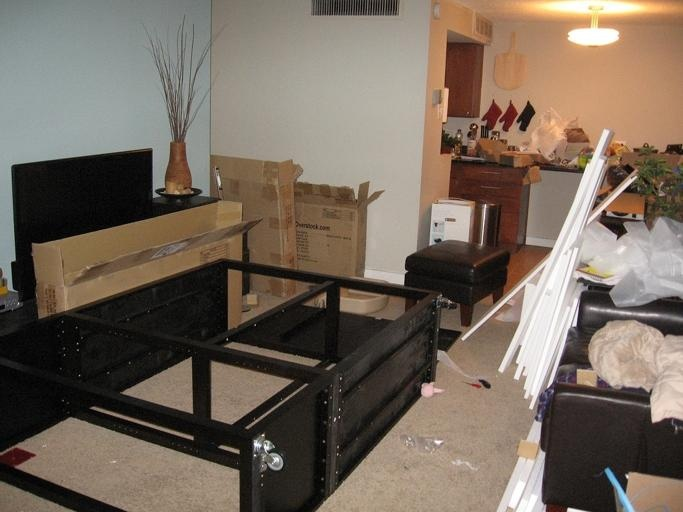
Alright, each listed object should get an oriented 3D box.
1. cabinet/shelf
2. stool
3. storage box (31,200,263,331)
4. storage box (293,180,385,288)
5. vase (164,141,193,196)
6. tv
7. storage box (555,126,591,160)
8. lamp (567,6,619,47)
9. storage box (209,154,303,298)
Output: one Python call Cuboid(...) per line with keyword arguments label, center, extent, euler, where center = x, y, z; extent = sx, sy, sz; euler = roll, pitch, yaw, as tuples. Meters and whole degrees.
Cuboid(label="cabinet/shelf", center=(1.590, -0.429, 6.296), extent=(1.121, 1.153, 0.702), euler=(10, -22, 14))
Cuboid(label="stool", center=(0.939, 0.176, 4.279), extent=(0.854, 0.482, 0.870), euler=(-5, 16, -16))
Cuboid(label="storage box", center=(-0.971, 0.223, 3.259), extent=(0.449, 0.897, 1.458), euler=(7, 16, 18))
Cuboid(label="storage box", center=(-0.163, -0.310, 4.936), extent=(0.982, 1.036, 0.332), euler=(7, 38, 9))
Cuboid(label="vase", center=(-1.297, -0.707, 4.182), extent=(0.188, 0.385, 0.324), euler=(-3, 18, -18))
Cuboid(label="tv", center=(-1.421, -0.151, 2.897), extent=(0.077, 0.541, 0.809), euler=(12, 21, 23))
Cuboid(label="storage box", center=(2.860, -1.362, 6.447), extent=(0.357, 0.370, 0.384), euler=(11, 19, 26))
Cuboid(label="lamp", center=(2.830, -2.564, 5.861), extent=(0.530, 0.439, 0.550), euler=(-8, 25, -9))
Cuboid(label="storage box", center=(-0.796, -0.342, 4.955), extent=(1.106, 1.149, 0.391), euler=(11, 21, 40))
